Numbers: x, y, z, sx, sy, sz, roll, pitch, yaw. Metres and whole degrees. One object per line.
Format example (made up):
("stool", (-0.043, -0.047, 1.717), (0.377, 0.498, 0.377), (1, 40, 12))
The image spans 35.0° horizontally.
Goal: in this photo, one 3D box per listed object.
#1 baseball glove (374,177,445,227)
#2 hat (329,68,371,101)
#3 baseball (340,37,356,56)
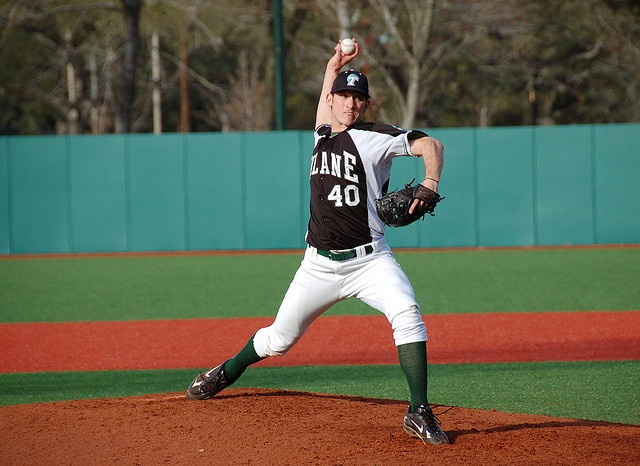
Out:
("baseball glove", (1.087, -0.334, 12.783), (0.695, 0.551, 0.321), (0, -3, -1))
("hat", (0.413, -1.848, 12.979), (0.509, 0.380, 0.698), (8, -7, 6))
("baseball", (0.383, -2.475, 13.573), (0.210, 0.218, 0.221), (4, 10, 18))
